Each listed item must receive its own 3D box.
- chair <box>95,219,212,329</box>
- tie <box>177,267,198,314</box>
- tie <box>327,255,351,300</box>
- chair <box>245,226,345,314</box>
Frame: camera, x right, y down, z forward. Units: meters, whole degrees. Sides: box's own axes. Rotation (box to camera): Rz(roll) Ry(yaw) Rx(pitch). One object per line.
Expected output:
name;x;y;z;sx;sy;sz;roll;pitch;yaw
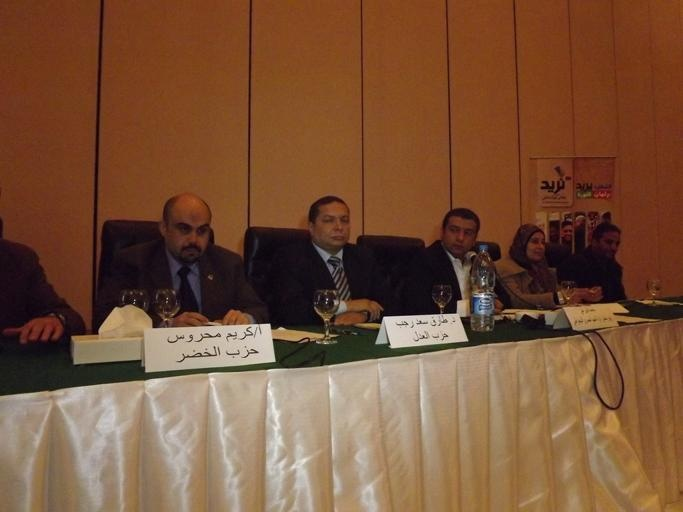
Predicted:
chair;-1.180;0.072;4.355;0.470;0.795;0.553;3;-12;-22
tie;-0.926;0.212;4.192;0.155;0.270;0.069;1;-21;-17
tie;-0.021;0.153;4.707;0.088;0.388;0.092;-13;-31;-7
chair;-0.322;0.086;4.782;0.421;0.747;0.458;1;-4;-22
